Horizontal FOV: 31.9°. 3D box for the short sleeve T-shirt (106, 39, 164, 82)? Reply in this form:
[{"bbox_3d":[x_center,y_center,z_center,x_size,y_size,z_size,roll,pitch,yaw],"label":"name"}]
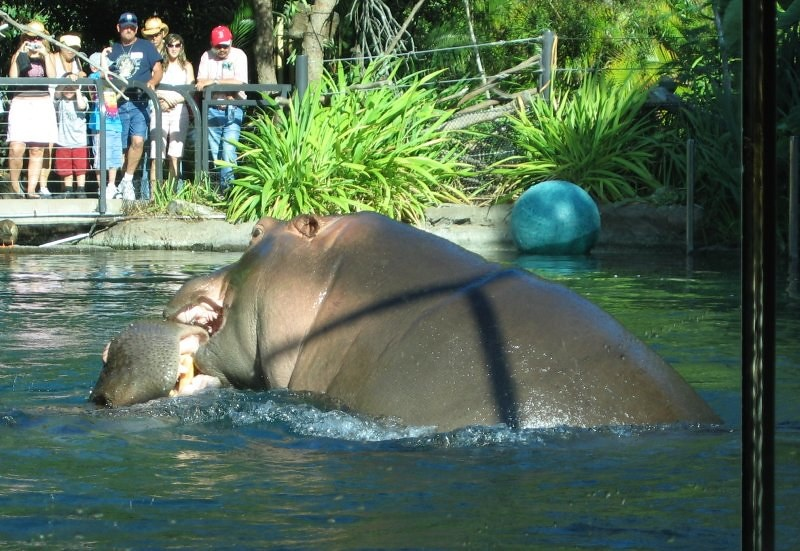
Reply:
[{"bbox_3d":[-3.062,-2.434,15.660,0.721,0.483,0.376,3,30,1],"label":"short sleeve T-shirt"}]

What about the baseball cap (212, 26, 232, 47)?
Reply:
[{"bbox_3d":[-2.120,-2.807,16.396,0.237,0.172,0.325,-4,17,-2],"label":"baseball cap"}]

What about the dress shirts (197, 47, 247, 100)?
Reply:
[{"bbox_3d":[-2.146,-2.442,16.678,0.511,0.540,0.324,0,25,2],"label":"dress shirts"}]

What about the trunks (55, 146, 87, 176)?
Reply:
[{"bbox_3d":[-3.682,-1.283,15.490,0.307,0.270,0.159,-1,23,-15],"label":"trunks"}]

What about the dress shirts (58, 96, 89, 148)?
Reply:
[{"bbox_3d":[-3.627,-1.682,15.254,0.425,0.613,0.203,-5,-20,-10],"label":"dress shirts"}]

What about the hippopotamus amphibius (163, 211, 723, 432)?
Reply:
[{"bbox_3d":[0.037,0.328,6.672,2.529,0.929,1.107,14,12,10],"label":"hippopotamus amphibius"}]

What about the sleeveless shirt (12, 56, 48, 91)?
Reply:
[{"bbox_3d":[-4.017,-2.134,15.040,0.453,0.408,0.151,6,-14,-14],"label":"sleeveless shirt"}]
